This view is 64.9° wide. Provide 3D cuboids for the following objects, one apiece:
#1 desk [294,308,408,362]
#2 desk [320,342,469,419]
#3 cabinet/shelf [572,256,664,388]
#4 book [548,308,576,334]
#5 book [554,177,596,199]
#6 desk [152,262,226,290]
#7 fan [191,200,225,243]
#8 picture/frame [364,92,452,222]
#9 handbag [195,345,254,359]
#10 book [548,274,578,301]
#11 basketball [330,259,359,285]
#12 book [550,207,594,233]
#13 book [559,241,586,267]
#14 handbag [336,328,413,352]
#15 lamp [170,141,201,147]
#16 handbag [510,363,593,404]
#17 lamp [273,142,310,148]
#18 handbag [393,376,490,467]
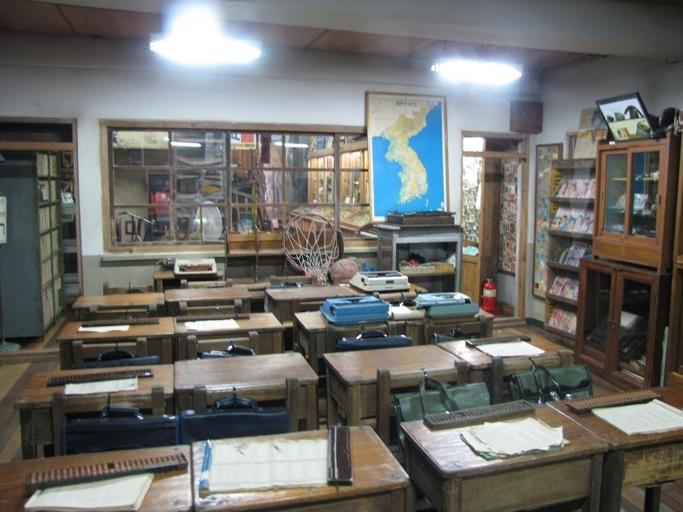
[{"bbox_3d":[-0.141,0.702,4.959,0.509,0.416,0.660,-2,13,-14],"label":"desk"},{"bbox_3d":[0.318,0.856,4.188,0.793,0.761,0.580,-5,17,-18],"label":"desk"},{"bbox_3d":[2.981,0.711,5.719,0.480,1.237,1.255,0,8,-15],"label":"cabinet/shelf"},{"bbox_3d":[3.076,0.915,7.481,0.075,0.298,0.314,14,4,-35],"label":"book"},{"bbox_3d":[3.160,-0.913,7.234,0.058,0.260,0.438,8,1,-27],"label":"book"},{"bbox_3d":[-1.917,0.262,6.675,0.826,0.272,0.493,-4,7,-8],"label":"desk"},{"bbox_3d":[-1.845,-0.465,7.312,0.549,0.498,0.169,-2,0,-30],"label":"fan"},{"bbox_3d":[0.870,-1.409,7.553,1.812,2.466,0.101,-1,0,-23],"label":"picture/frame"},{"bbox_3d":[-0.945,0.810,4.440,0.236,0.071,0.232,-4,8,-35],"label":"handbag"},{"bbox_3d":[3.100,0.445,7.484,0.097,0.286,0.414,12,7,-36],"label":"book"},{"bbox_3d":[0.037,0.187,6.865,0.273,0.299,0.350,-1,-20,-14],"label":"basketball"},{"bbox_3d":[3.140,-0.465,7.255,0.141,0.316,0.604,8,5,-34],"label":"book"},{"bbox_3d":[3.147,-0.010,7.319,0.099,0.358,0.379,15,12,-17],"label":"book"},{"bbox_3d":[0.286,0.730,4.618,0.703,0.215,0.232,-3,3,-14],"label":"handbag"},{"bbox_3d":[-2.086,-1.483,7.153,0.346,0.062,0.084,-1,9,-20],"label":"lamp"},{"bbox_3d":[1.567,0.982,4.061,0.273,0.273,0.118,-2,9,-13],"label":"handbag"},{"bbox_3d":[-0.705,-1.548,7.544,0.504,0.097,0.126,-8,8,-36],"label":"lamp"},{"bbox_3d":[0.642,1.079,3.481,0.615,0.566,0.226,-4,3,-17],"label":"handbag"}]
